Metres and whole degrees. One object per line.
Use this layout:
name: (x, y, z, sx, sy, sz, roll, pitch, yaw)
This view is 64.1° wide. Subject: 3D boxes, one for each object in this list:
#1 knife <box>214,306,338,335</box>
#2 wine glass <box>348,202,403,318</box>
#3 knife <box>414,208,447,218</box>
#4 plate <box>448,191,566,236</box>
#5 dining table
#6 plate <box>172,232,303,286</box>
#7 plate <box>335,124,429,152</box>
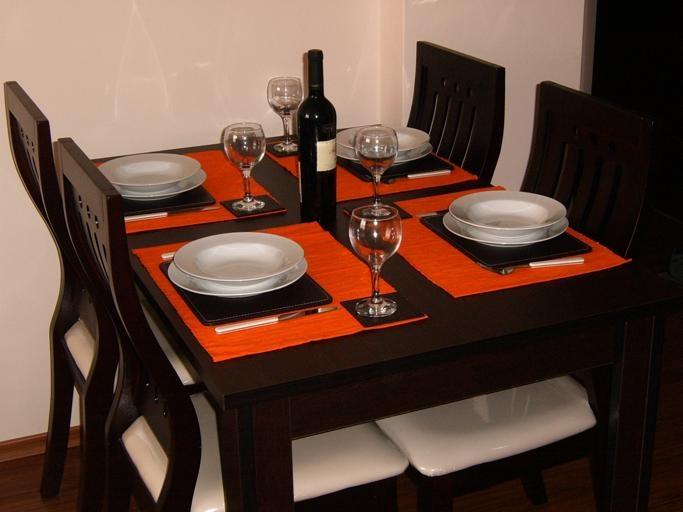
knife: (-0.133, 0.130, 1.067, 0.188, 0.009, 0.020, -8, 13, -24)
wine glass: (0.070, 0.022, 1.127, 0.107, 0.229, 0.112, -14, 36, -13)
knife: (0.251, -0.120, 1.535, 0.030, 0.008, 0.156, 28, 30, 31)
plate: (0.439, -0.119, 1.440, 0.178, 0.045, 0.185, 9, 35, 23)
dining table: (0.135, 0.174, 1.386, 0.748, 0.753, 0.782, -13, 34, -14)
plate: (-0.235, 0.002, 1.221, 0.149, 0.034, 0.157, -9, 31, -13)
plate: (0.162, -0.407, 1.916, 0.193, 0.029, 0.203, -7, 33, -11)
